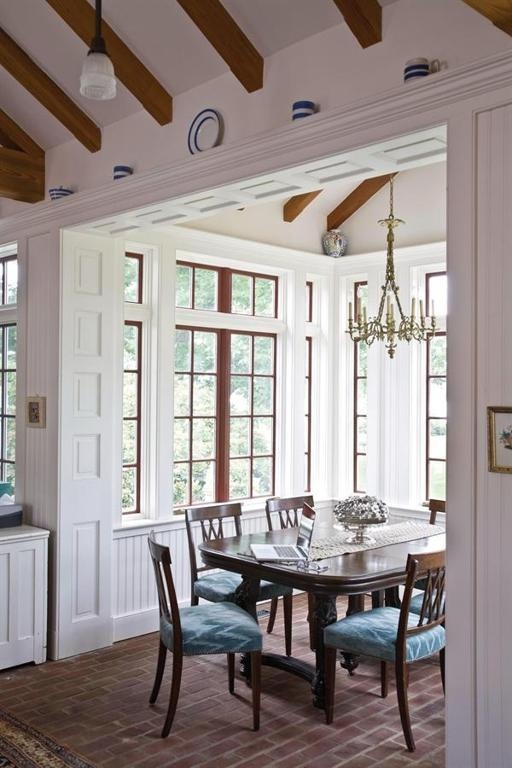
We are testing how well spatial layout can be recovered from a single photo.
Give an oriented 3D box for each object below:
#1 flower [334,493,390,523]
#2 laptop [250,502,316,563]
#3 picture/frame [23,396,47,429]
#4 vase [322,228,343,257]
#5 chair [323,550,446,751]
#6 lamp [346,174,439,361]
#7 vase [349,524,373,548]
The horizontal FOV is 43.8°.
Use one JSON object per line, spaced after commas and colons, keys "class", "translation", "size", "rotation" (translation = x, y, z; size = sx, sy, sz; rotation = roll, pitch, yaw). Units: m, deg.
{"class": "flower", "translation": [0.690, 0.788, 4.006], "size": [0.196, 0.079, 0.228], "rotation": [1, -1, 30]}
{"class": "laptop", "translation": [0.173, 0.800, 3.489], "size": [0.260, 0.223, 0.308], "rotation": [1, -2, -3]}
{"class": "picture/frame", "translation": [-1.491, 0.195, 4.279], "size": [0.023, 0.209, 0.211], "rotation": [3, -8, -40]}
{"class": "vase", "translation": [0.718, -1.283, 5.920], "size": [0.225, 0.267, 0.131], "rotation": [0, -6, 1]}
{"class": "chair", "translation": [0.680, 1.217, 3.119], "size": [0.552, 0.866, 0.560], "rotation": [5, -7, -39]}
{"class": "lamp", "translation": [1.010, -0.960, 4.868], "size": [0.728, 1.726, 1.629], "rotation": [-1, -6, 14]}
{"class": "vase", "translation": [0.641, 0.932, 3.899], "size": [0.116, 0.069, 0.115], "rotation": [-3, 3, -38]}
